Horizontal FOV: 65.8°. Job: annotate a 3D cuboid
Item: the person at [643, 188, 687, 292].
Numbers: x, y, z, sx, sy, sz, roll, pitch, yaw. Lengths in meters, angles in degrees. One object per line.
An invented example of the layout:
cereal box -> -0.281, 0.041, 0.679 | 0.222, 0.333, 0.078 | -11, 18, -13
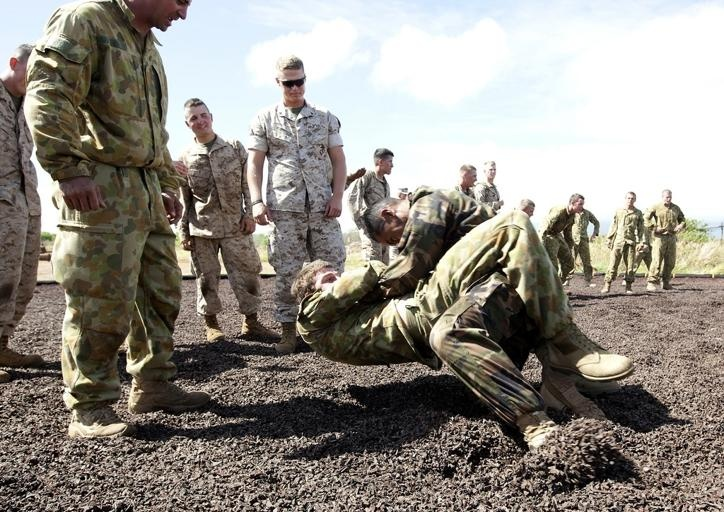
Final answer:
person -> 5.978, -0.276, 11.177 | 0.707, 2.044, 1.502 | 7, 14, 28

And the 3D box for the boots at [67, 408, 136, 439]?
boots -> -1.669, 1.028, 3.574 | 0.493, 0.271, 0.188 | -6, -8, 25

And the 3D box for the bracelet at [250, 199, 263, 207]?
bracelet -> -1.016, -0.511, 5.359 | 0.065, 0.062, 0.146 | -11, 15, -39

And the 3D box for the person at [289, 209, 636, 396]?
person -> 0.632, 0.440, 4.092 | 2.309, 1.069, 1.024 | -9, -13, 21

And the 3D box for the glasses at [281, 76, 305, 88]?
glasses -> -0.628, -1.593, 5.125 | 0.210, 0.106, 0.182 | -2, 12, -8
